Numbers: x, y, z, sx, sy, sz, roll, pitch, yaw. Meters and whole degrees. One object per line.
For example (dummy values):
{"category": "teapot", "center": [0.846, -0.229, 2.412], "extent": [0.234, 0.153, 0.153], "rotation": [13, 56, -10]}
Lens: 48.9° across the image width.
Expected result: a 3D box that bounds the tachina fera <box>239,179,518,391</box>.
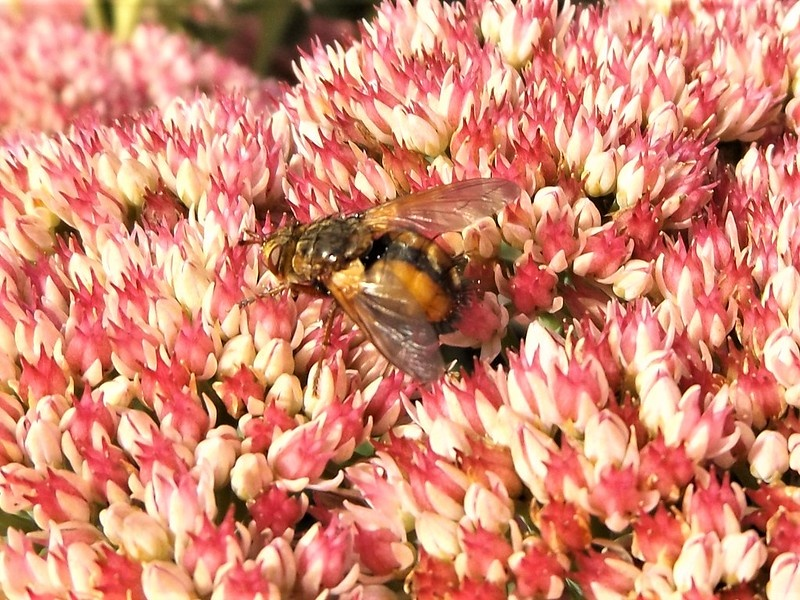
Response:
{"category": "tachina fera", "center": [-0.041, 0.003, 1.520], "extent": [0.350, 0.113, 0.386], "rotation": [8, 50, 8]}
